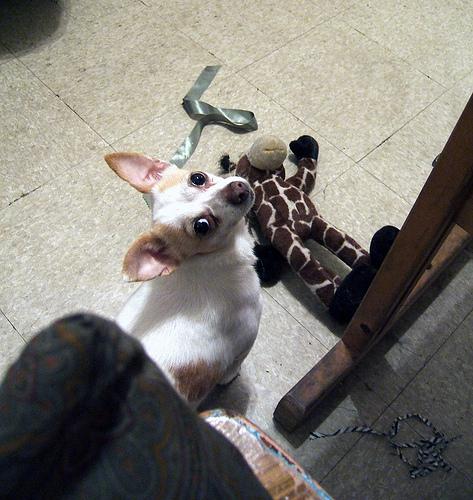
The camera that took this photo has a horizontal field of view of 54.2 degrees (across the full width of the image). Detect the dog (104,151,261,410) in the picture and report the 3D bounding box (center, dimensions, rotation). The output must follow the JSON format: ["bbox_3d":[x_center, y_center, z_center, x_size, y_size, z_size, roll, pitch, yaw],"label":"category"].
[{"bbox_3d":[-0.157,0.173,1.545,0.473,0.791,0.673,-3,50,-9],"label":"dog"}]

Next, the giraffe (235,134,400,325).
[{"bbox_3d":[0.256,-0.072,2.157,0.914,0.273,0.647,43,73,13],"label":"giraffe"}]
